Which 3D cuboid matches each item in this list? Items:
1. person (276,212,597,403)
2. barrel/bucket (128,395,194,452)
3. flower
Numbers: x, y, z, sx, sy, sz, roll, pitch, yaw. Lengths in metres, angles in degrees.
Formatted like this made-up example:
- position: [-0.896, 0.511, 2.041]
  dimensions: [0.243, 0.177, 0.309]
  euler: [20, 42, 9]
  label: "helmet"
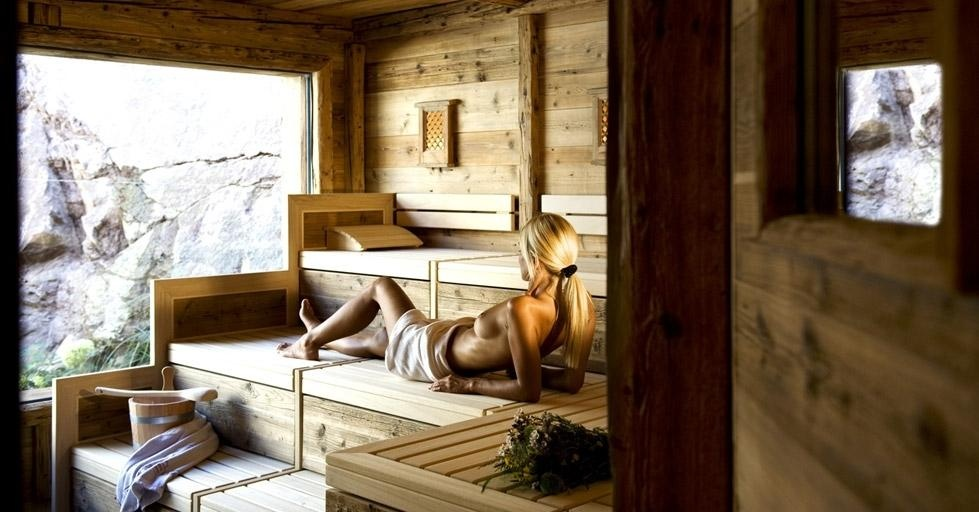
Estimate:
- position: [-0.389, 0.245, 3.434]
  dimensions: [2.060, 0.829, 0.854]
  euler: [3, 7, 35]
  label: "person"
- position: [-2.100, 1.035, 3.819]
  dimensions: [0.396, 0.242, 0.398]
  euler: [0, -1, 0]
  label: "barrel/bucket"
- position: [0.277, 0.635, 2.086]
  dimensions: [0.447, 0.182, 0.332]
  euler: [-1, 6, -32]
  label: "flower"
